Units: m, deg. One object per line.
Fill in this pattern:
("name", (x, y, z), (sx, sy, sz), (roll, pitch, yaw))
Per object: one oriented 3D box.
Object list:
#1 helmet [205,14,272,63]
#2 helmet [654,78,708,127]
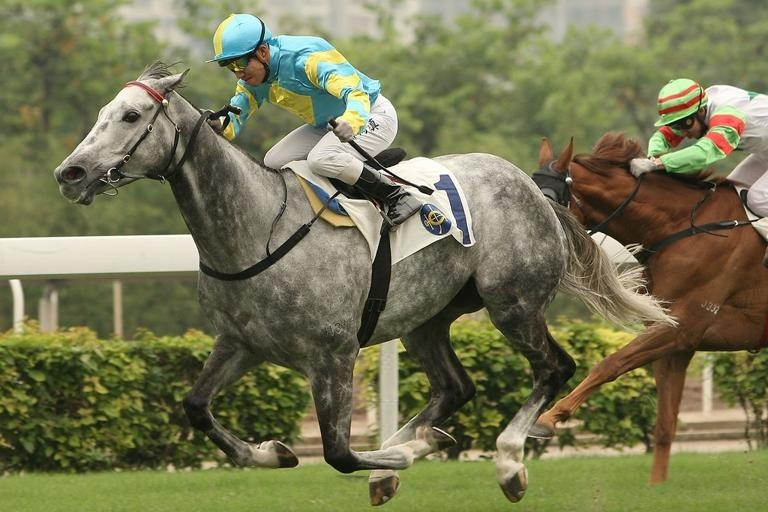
("helmet", (-1.411, -2.076, 14.551), (0.580, 0.283, 0.425), (-21, 12, -39))
("helmet", (3.000, -1.582, 15.409), (0.578, 0.304, 0.400), (-26, 23, -26))
